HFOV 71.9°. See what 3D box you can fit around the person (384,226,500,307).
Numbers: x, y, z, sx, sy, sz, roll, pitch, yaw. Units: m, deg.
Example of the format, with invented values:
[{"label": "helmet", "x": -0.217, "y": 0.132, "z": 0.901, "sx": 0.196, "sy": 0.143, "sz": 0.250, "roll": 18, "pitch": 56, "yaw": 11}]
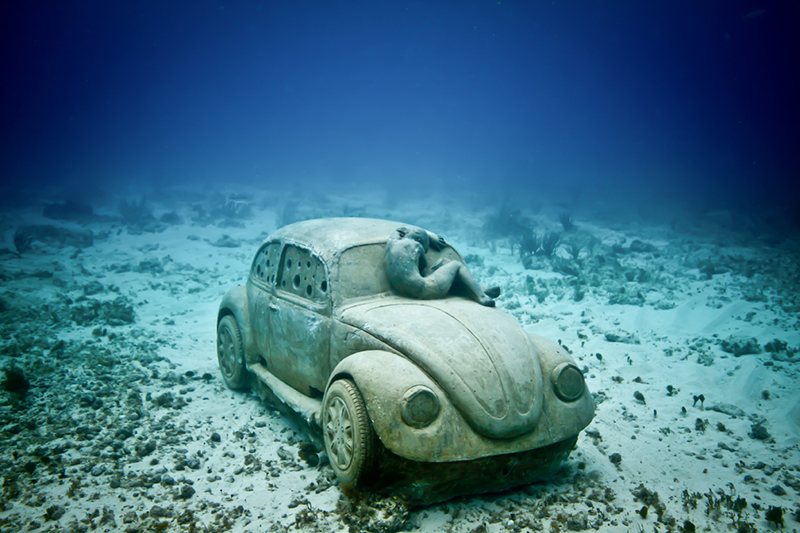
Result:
[{"label": "person", "x": 0.630, "y": 0.027, "z": 8.166, "sx": 2.233, "sy": 1.369, "sz": 1.014, "roll": -2, "pitch": -8, "yaw": -43}]
